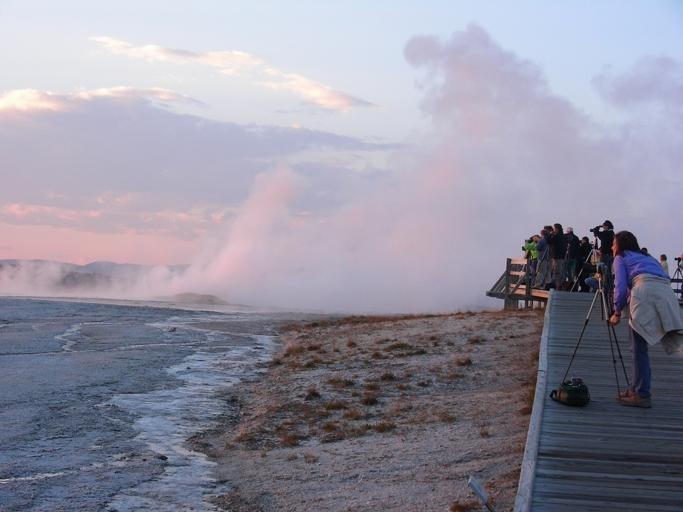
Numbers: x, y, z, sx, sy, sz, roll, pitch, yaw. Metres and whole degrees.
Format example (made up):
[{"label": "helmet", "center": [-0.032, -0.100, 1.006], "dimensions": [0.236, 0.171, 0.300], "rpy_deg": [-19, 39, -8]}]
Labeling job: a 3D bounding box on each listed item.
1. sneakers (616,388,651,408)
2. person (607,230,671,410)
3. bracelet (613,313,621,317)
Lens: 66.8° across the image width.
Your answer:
[{"label": "sneakers", "center": [5.154, 2.508, 9.188], "dimensions": [0.535, 0.234, 0.285], "rpy_deg": [2, -1, 19]}, {"label": "person", "center": [5.235, 1.110, 9.020], "dimensions": [1.017, 2.902, 1.102], "rpy_deg": [-3, -2, 26]}, {"label": "bracelet", "center": [4.693, 1.023, 8.825], "dimensions": [0.082, 0.059, 0.079], "rpy_deg": [0, 11, -3]}]
